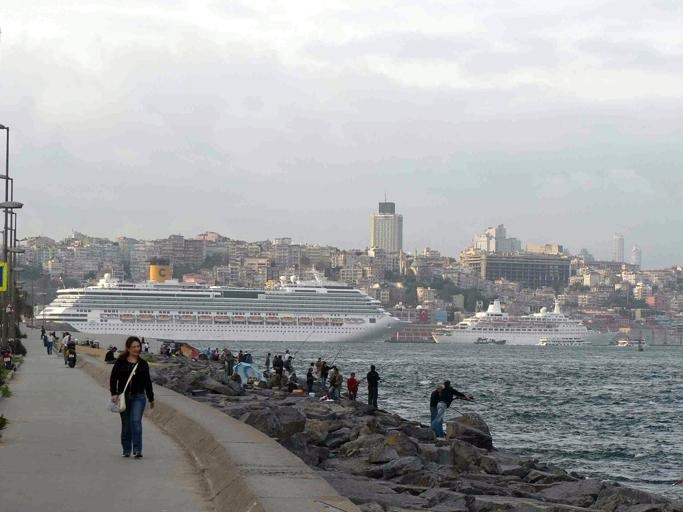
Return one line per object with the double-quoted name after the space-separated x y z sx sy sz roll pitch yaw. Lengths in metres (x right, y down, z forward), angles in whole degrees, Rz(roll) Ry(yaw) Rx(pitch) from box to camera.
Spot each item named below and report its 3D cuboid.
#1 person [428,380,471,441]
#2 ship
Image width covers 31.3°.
3.133 4.521 35.856 1.365 1.620 0.720 3 -4 -10 "person"
-13.866 6.737 149.427 52.936 7.186 25.332 2 -9 -38 "ship"
